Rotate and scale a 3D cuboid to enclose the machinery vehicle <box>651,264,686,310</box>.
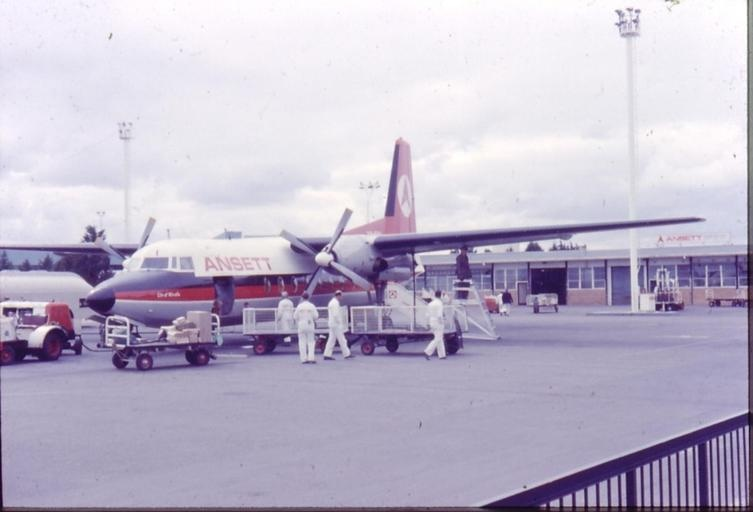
[{"bbox_3d":[15.665,1.828,49.228,1.096,1.705,3.419,5,-7,28],"label":"machinery vehicle"}]

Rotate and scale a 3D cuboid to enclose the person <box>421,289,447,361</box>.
[{"bbox_3d":[1.539,1.852,24.415,0.524,1.818,1.408,-3,-5,3],"label":"person"}]

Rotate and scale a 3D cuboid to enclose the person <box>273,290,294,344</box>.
[{"bbox_3d":[-2.789,1.776,27.524,0.558,1.486,1.633,-2,-5,-5],"label":"person"}]
